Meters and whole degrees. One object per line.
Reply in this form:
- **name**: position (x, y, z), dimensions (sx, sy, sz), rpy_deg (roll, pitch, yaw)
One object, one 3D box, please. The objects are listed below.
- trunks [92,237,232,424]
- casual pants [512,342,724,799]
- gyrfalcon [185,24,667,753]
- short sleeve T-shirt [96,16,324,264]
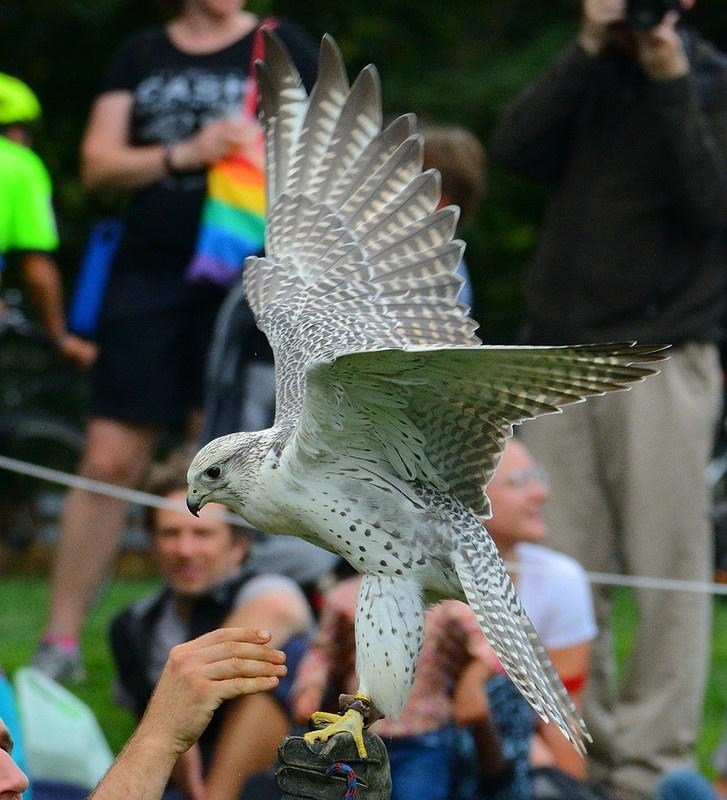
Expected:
- **trunks**: position (-0.709, -0.263, 8.350), dimensions (0.396, 0.624, 0.615), rpy_deg (14, 7, 26)
- **casual pants**: position (0.947, 0.576, 8.246), dimensions (0.477, 1.621, 0.524), rpy_deg (20, 26, 38)
- **gyrfalcon**: position (0.016, -0.018, 6.998), dimensions (1.014, 1.088, 2.159), rpy_deg (-14, 52, -21)
- **short sleeve T-shirt**: position (-0.588, -0.859, 8.211), dimensions (0.731, 0.854, 0.326), rpy_deg (-3, 24, -14)
